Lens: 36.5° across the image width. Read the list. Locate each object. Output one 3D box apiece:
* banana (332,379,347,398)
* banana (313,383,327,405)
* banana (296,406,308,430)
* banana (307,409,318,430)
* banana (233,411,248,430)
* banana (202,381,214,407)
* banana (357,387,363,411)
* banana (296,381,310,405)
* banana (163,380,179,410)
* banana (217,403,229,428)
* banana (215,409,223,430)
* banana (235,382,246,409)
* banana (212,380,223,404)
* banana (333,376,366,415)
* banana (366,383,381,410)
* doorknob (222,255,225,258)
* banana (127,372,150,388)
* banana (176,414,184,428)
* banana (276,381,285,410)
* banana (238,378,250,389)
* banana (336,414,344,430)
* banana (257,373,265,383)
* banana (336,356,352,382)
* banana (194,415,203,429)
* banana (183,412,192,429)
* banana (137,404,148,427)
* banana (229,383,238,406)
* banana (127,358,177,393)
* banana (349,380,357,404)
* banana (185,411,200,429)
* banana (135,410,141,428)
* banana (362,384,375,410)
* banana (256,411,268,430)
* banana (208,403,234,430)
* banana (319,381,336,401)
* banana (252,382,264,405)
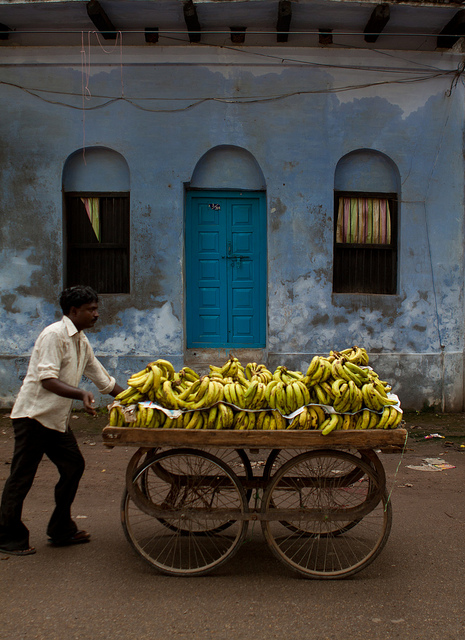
[{"bbox_3d":[0.680,0.429,4.501,0.079,0.045,0.160,14,39,2],"label":"banana"},{"bbox_3d":[0.570,0.480,4.556,0.050,0.043,0.141,-20,47,-2],"label":"banana"},{"bbox_3d":[0.454,0.635,4.504,0.046,0.156,0.053,29,-6,-39],"label":"banana"},{"bbox_3d":[0.511,0.648,4.512,0.030,0.103,0.081,-1,-1,-2],"label":"banana"},{"bbox_3d":[0.057,0.648,4.523,0.056,0.127,0.045,10,-7,21],"label":"banana"},{"bbox_3d":[-0.151,0.484,4.528,0.074,0.146,0.069,-1,6,-5],"label":"banana"},{"bbox_3d":[0.830,0.517,4.548,0.025,0.143,0.069,5,8,41],"label":"banana"},{"bbox_3d":[0.473,0.470,4.553,0.032,0.122,0.097,-18,11,13],"label":"banana"},{"bbox_3d":[-0.404,0.491,4.592,0.085,0.170,0.137,-3,7,-25],"label":"banana"},{"bbox_3d":[-0.053,0.611,4.520,0.046,0.148,0.077,-3,7,-28],"label":"banana"},{"bbox_3d":[-0.077,0.637,4.506,0.026,0.121,0.041,5,3,14],"label":"banana"},{"bbox_3d":[0.054,0.492,4.593,0.064,0.205,0.040,-16,-8,38],"label":"banana"},{"bbox_3d":[-0.112,0.461,4.553,0.032,0.108,0.103,-7,8,38],"label":"banana"},{"bbox_3d":[0.749,0.502,4.510,0.106,0.247,0.189,-22,-39,26],"label":"banana"},{"bbox_3d":[0.920,0.501,4.559,0.090,0.166,0.073,1,6,12],"label":"banana"},{"bbox_3d":[-0.122,-0.878,9.715,0.032,0.034,0.031,0,-5,-1],"label":"doorknob"},{"bbox_3d":[-0.610,0.407,4.630,0.058,0.078,0.193,22,-32,-34],"label":"banana"},{"bbox_3d":[-0.332,0.659,4.547,0.024,0.111,0.035,7,2,-26],"label":"banana"},{"bbox_3d":[0.314,0.486,4.552,0.045,0.177,0.038,-1,-32,-2],"label":"banana"},{"bbox_3d":[0.086,0.429,4.833,0.032,0.034,0.118,36,8,-29],"label":"banana"},{"bbox_3d":[0.704,0.661,4.577,0.074,0.078,0.026,-16,13,9],"label":"banana"},{"bbox_3d":[0.208,0.403,4.873,0.029,0.045,0.097,0,6,-5],"label":"banana"},{"bbox_3d":[0.708,0.323,4.559,0.043,0.189,0.096,-25,-39,33],"label":"banana"},{"bbox_3d":[-0.205,0.664,4.562,0.025,0.115,0.039,28,-8,-13],"label":"banana"},{"bbox_3d":[-0.285,0.639,4.541,0.029,0.139,0.048,18,-6,1],"label":"banana"},{"bbox_3d":[-0.574,0.607,4.540,0.039,0.160,0.053,-1,-3,-28],"label":"banana"},{"bbox_3d":[0.011,0.479,4.539,0.045,0.140,0.035,1,-16,-45],"label":"banana"},{"bbox_3d":[-0.525,0.369,4.692,0.174,0.143,0.281,-2,7,24],"label":"banana"},{"bbox_3d":[0.778,0.462,4.520,0.045,0.148,0.033,-13,-3,15],"label":"banana"},{"bbox_3d":[-0.246,0.641,4.532,0.086,0.100,0.037,-2,6,-16],"label":"banana"},{"bbox_3d":[-0.602,0.639,4.537,0.022,0.104,0.033,5,-2,-14],"label":"banana"},{"bbox_3d":[0.870,0.501,4.544,0.037,0.123,0.117,-14,-4,16],"label":"banana"},{"bbox_3d":[0.188,0.645,4.544,0.036,0.142,0.047,15,-12,29],"label":"banana"},{"bbox_3d":[-0.068,0.617,4.519,0.166,0.159,0.072,0,6,-4],"label":"banana"},{"bbox_3d":[0.614,0.460,4.545,0.039,0.048,0.171,32,5,-23],"label":"banana"},{"bbox_3d":[0.171,0.474,4.530,0.032,0.105,0.076,20,-8,18],"label":"banana"}]
